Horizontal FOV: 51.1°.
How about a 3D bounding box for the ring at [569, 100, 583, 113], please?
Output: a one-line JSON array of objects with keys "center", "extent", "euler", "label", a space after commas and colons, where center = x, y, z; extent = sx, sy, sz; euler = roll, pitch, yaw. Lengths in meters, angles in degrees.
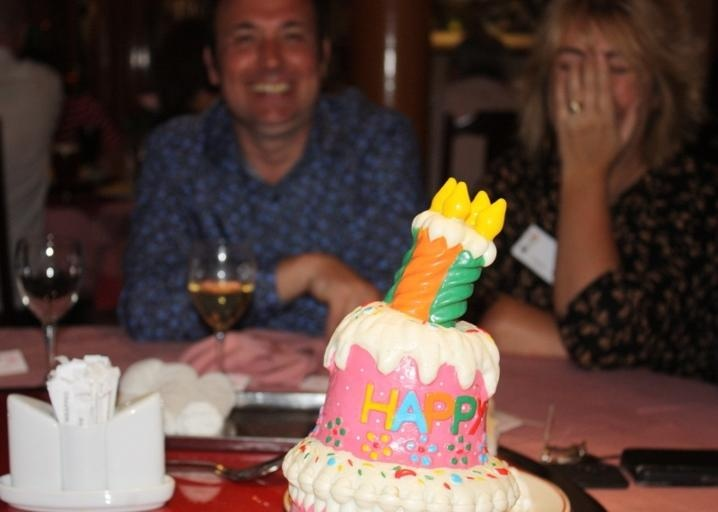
[{"center": [0.402, -0.276, 1.389], "extent": [0.027, 0.027, 0.011], "euler": [5, 24, 1], "label": "ring"}]
